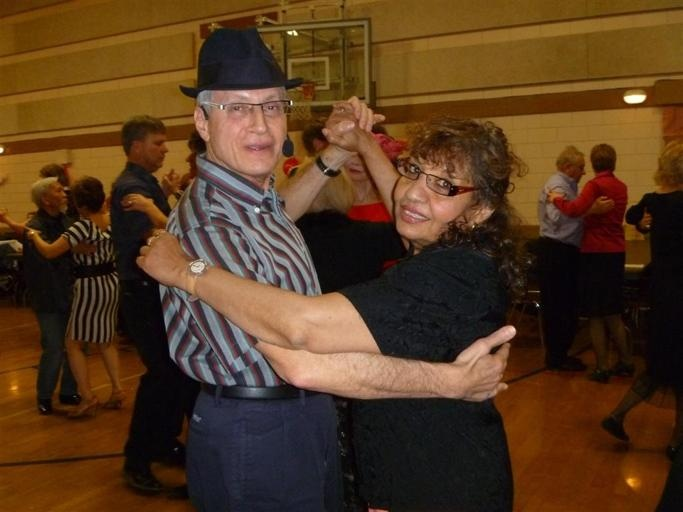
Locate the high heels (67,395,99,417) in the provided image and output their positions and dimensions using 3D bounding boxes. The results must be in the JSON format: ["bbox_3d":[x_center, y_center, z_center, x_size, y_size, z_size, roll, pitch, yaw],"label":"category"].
[{"bbox_3d":[-2.082,1.226,4.426,0.261,0.101,0.144,1,-4,-38],"label":"high heels"}]

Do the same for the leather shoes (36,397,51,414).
[{"bbox_3d":[-2.423,1.220,4.455,0.070,0.130,0.138,7,27,-25],"label":"leather shoes"}]

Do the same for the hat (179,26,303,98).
[{"bbox_3d":[-0.318,-0.597,1.715,0.287,0.115,0.232,3,8,44],"label":"hat"}]

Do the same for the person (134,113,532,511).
[{"bbox_3d":[0.091,0.195,1.660,1.024,1.200,0.416,-3,9,-14],"label":"person"}]

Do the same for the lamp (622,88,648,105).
[{"bbox_3d":[3.730,-2.003,6.901,0.268,0.189,0.150,3,9,24],"label":"lamp"}]

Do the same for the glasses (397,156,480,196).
[{"bbox_3d":[0.278,-0.225,1.712,0.167,0.046,0.161,11,14,-45],"label":"glasses"}]

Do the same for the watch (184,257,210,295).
[{"bbox_3d":[-0.396,0.059,1.485,0.053,0.082,0.080,21,35,12],"label":"watch"}]
